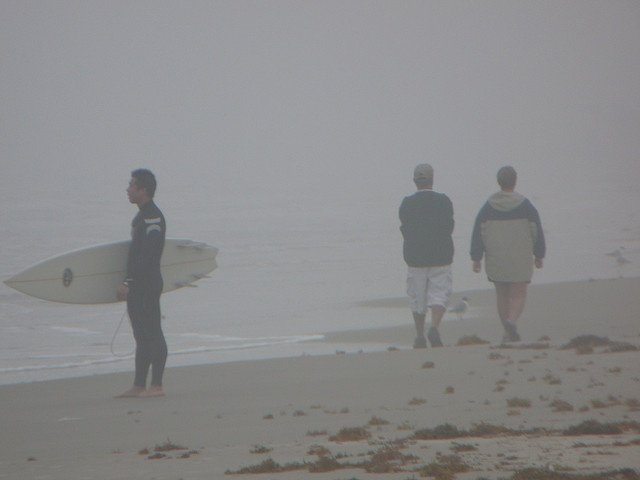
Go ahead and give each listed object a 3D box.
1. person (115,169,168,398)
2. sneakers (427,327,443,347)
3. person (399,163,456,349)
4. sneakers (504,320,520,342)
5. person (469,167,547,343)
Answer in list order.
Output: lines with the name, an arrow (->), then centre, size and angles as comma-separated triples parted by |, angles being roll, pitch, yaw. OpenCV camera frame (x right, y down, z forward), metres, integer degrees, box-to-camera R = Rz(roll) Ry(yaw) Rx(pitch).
person -> -1.471, 0.371, 10.476 | 0.392, 1.859, 0.167 | 1, 0, -7
sneakers -> 0.992, 0.856, 10.992 | 0.080, 0.233, 0.096 | -23, -5, 8
person -> 0.914, 0.138, 11.158 | 0.468, 1.645, 0.340 | 1, 0, 27
sneakers -> 1.683, 0.822, 11.084 | 0.078, 0.228, 0.094 | -12, 3, 13
person -> 1.659, 0.239, 11.205 | 0.652, 1.514, 0.267 | 1, 0, 8
